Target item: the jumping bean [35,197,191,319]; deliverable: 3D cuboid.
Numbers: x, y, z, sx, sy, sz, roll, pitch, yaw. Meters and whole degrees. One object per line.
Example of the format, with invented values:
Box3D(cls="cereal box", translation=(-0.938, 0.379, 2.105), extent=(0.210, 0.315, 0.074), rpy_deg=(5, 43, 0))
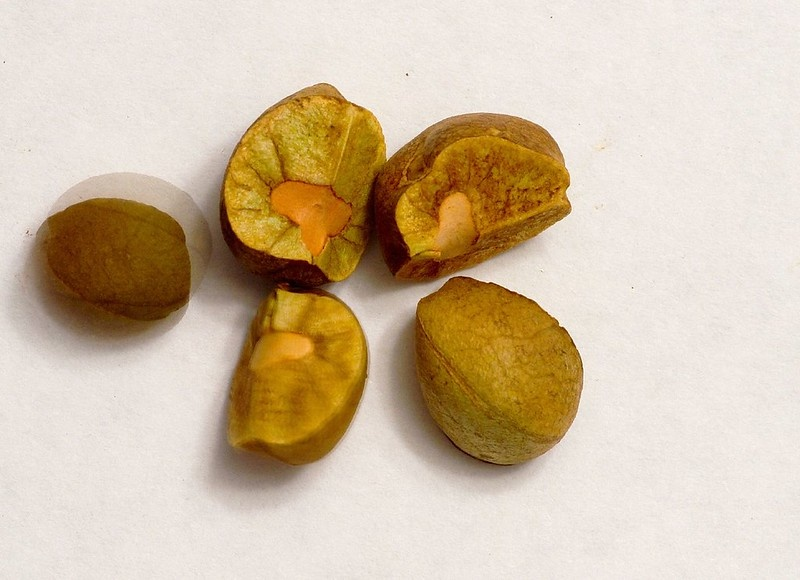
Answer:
Box3D(cls="jumping bean", translation=(-0.571, -0.065, 1.785), extent=(0.266, 0.148, 0.229), rpy_deg=(-13, 67, -5))
